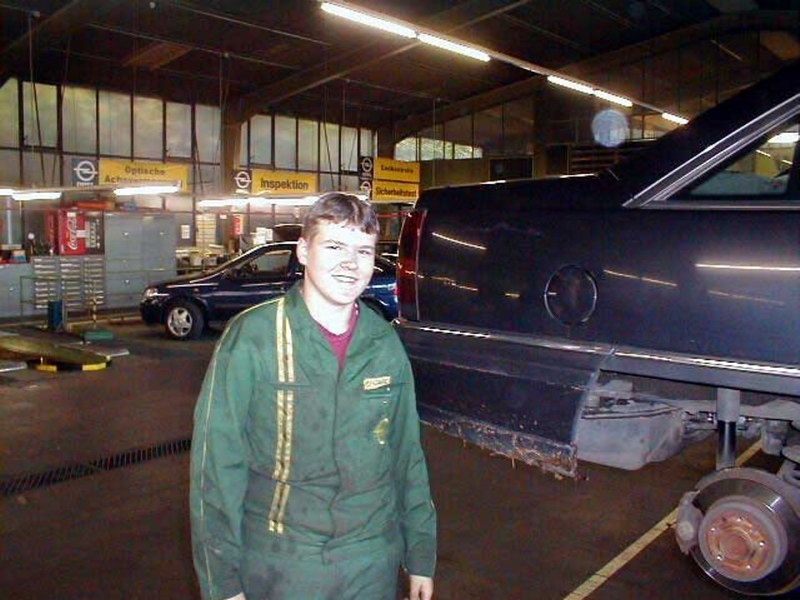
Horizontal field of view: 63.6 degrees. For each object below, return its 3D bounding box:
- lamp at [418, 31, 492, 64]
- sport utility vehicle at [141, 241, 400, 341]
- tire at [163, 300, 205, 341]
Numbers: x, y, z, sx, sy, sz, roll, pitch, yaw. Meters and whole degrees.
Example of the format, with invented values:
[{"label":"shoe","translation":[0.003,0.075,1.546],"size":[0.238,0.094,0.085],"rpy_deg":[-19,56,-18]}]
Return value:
[{"label":"lamp","translation":[0.956,-4.189,10.543],"size":[0.846,0.268,2.039],"rpy_deg":[3,9,20]},{"label":"sport utility vehicle","translation":[-2.279,-0.184,11.691],"size":[4.106,1.805,1.929],"rpy_deg":[3,1,3]},{"label":"tire","translation":[-3.758,0.334,11.405],"size":[0.485,0.549,0.182],"rpy_deg":[19,10,16]}]
